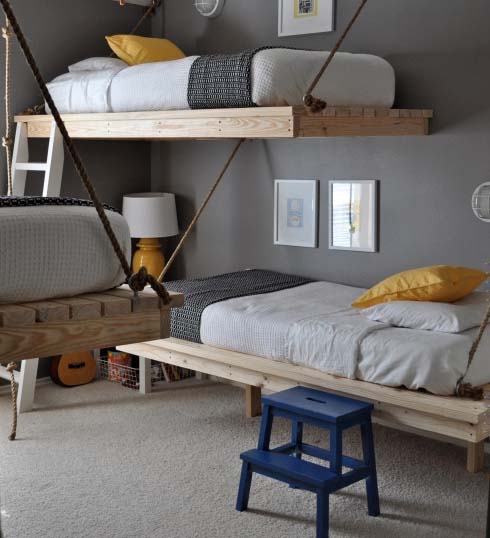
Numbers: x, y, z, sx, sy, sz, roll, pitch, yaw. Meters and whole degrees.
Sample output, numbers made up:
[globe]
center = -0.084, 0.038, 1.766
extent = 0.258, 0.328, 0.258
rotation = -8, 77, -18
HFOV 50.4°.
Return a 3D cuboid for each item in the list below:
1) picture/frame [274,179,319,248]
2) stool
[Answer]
[picture/frame]
center = 0.394, -0.429, 3.886
extent = 0.577, 0.609, 0.052
rotation = 6, 9, 42
[stool]
center = 0.261, 0.796, 2.205
extent = 0.502, 0.465, 0.517
rotation = 4, 8, 40
